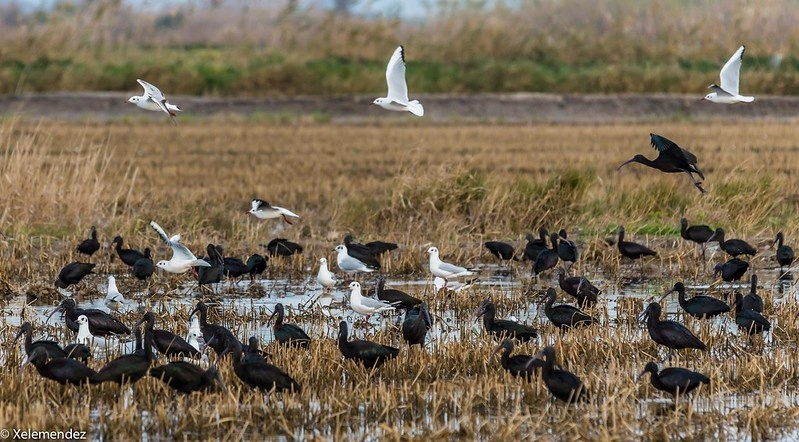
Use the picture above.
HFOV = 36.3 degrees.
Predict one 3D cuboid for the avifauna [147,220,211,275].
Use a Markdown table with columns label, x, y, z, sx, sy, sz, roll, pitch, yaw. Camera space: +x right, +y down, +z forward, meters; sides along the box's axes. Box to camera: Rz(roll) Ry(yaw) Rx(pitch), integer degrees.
| label | x | y | z | sx | sy | sz | roll | pitch | yaw |
| --- | --- | --- | --- | --- | --- | --- | --- | --- | --- |
| avifauna | -6.215 | 0.978 | 34.743 | 1.423 | 1.070 | 1.931 | -23 | -2 | -2 |

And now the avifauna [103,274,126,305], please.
| label | x | y | z | sx | sy | sz | roll | pitch | yaw |
| --- | --- | --- | --- | --- | --- | --- | --- | --- | --- |
| avifauna | -8.060 | 1.875 | 34.386 | 0.371 | 0.622 | 1.023 | -2 | 19 | -27 |

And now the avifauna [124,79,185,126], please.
| label | x | y | z | sx | sy | sz | roll | pitch | yaw |
| --- | --- | --- | --- | --- | --- | --- | --- | --- | --- |
| avifauna | -6.957 | -3.495 | 34.771 | 1.370 | 0.931 | 1.870 | 4 | -7 | -9 |

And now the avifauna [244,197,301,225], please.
| label | x | y | z | sx | sy | sz | roll | pitch | yaw |
| --- | --- | --- | --- | --- | --- | --- | --- | --- | --- |
| avifauna | -3.782 | -0.229 | 35.792 | 1.090 | 0.599 | 1.061 | -22 | -6 | 4 |

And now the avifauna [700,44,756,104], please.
| label | x | y | z | sx | sy | sz | roll | pitch | yaw |
| --- | --- | --- | --- | --- | --- | --- | --- | --- | --- |
| avifauna | 9.437 | -3.873 | 34.875 | 1.507 | 0.931 | 2.243 | 4 | 29 | 27 |
